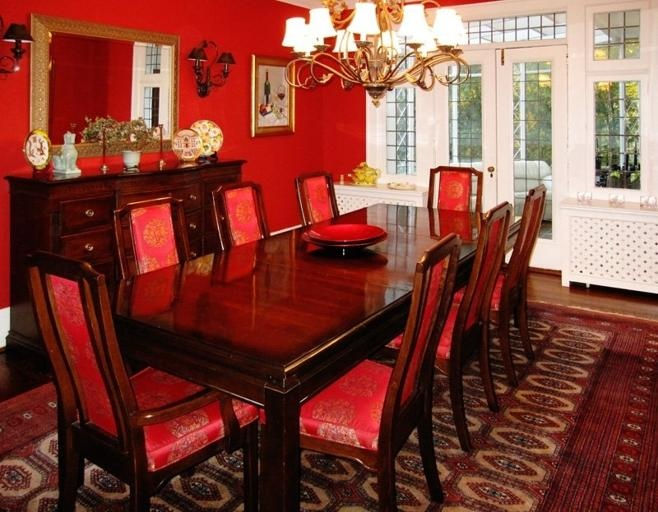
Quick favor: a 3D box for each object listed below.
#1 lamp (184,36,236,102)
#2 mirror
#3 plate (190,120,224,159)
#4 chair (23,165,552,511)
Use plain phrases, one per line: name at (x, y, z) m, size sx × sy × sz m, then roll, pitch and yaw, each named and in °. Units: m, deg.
lamp at (-1.132, -1.918, 5.255) m, size 0.310 × 0.567 × 0.660 m, roll 8°, pitch 17°, yaw 33°
mirror at (-1.905, -1.415, 4.319) m, size 0.059 × 1.038 × 1.525 m, roll 7°, pitch 10°, yaw 27°
plate at (-1.183, -1.166, 5.092) m, size 0.345 × 0.351 × 0.081 m, roll 14°, pitch -4°, yaw -30°
chair at (-0.226, 0.417, 2.564) m, size 0.852 × 0.771 × 1.719 m, roll 6°, pitch 13°, yaw 31°
